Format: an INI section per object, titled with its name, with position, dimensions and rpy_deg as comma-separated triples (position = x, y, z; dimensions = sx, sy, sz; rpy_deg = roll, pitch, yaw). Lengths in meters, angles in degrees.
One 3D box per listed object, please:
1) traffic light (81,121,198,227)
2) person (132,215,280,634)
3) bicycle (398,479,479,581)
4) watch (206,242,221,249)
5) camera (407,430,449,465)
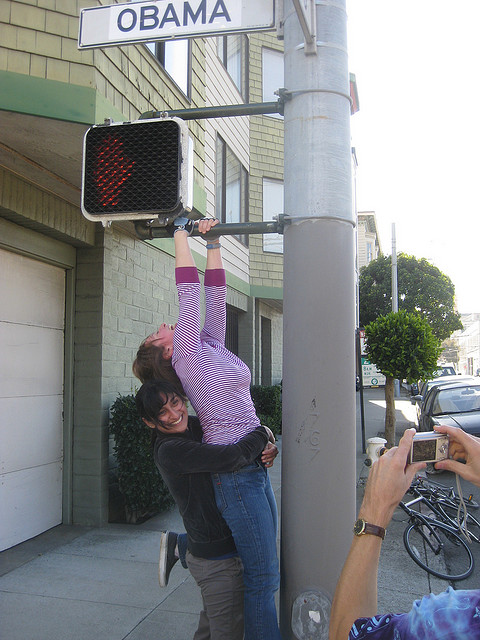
[traffic light]
position = -0.380, -0.509, 2.070
dimensions = 0.356, 0.450, 0.215
rpy_deg = -2, -11, 7
[person]
position = -0.133, 0.422, 2.415
dimensions = 0.616, 1.642, 0.798
rpy_deg = 2, -4, -14
[bicycle]
position = 1.995, 2.027, 5.445
dimensions = 0.775, 0.655, 1.418
rpy_deg = 0, -5, 18
[watch]
position = -0.118, -0.320, 2.396
dimensions = 0.060, 0.030, 0.092
rpy_deg = 1, -5, -5
[camera]
position = 0.451, 0.311, 1.324
dimensions = 0.078, 0.071, 0.160
rpy_deg = -2, -5, 30
